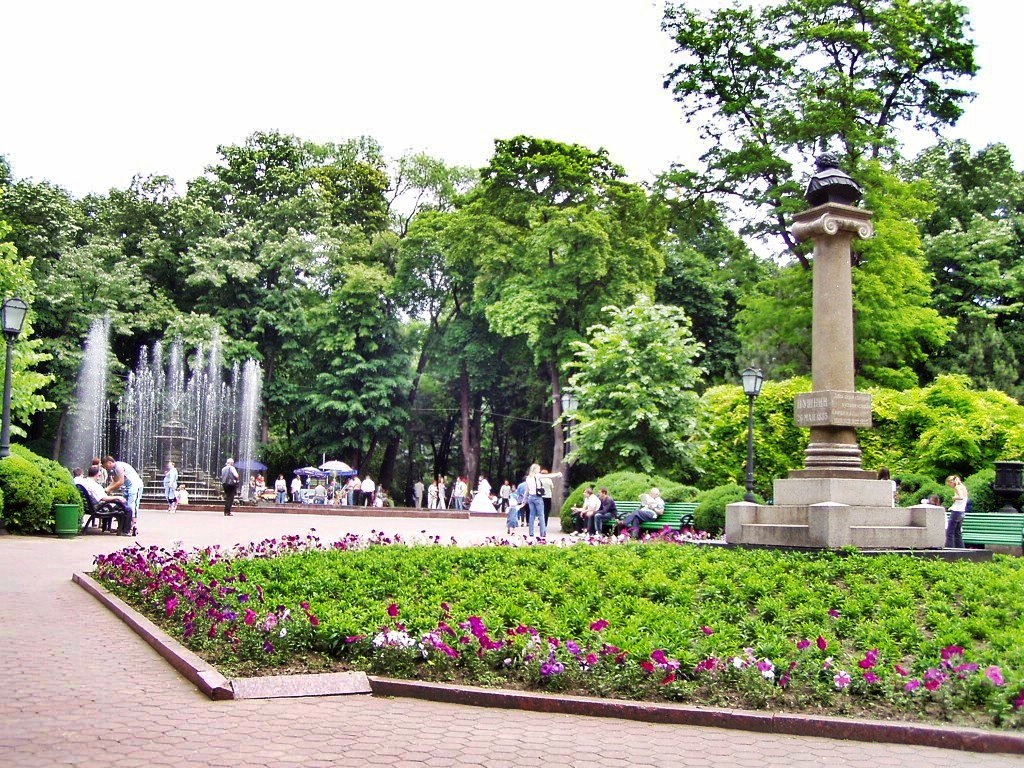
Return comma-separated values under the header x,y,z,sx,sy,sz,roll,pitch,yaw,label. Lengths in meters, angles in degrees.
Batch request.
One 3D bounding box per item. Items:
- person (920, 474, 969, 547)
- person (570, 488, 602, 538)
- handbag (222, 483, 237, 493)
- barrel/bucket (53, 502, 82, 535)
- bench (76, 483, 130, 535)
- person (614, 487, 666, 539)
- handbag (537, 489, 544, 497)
x,y,z,sx,sy,sz,roll,pitch,yaw,label
8.616,2.561,21.946,0.659,1.938,0.706,1,-25,30,person
1.901,3.145,27.032,0.962,1.585,0.843,2,-7,0,person
-8.999,3.318,35.206,0.463,0.337,0.456,-2,-7,24,handbag
-9.574,2.920,23.816,0.642,0.668,0.649,-1,-7,0,barrel/bucket
-9.029,2.846,24.699,1.321,1.150,0.958,0,-2,-15,bench
2.913,2.934,25.185,0.865,0.994,1.413,3,6,31,person
0.727,2.744,27.520,0.147,0.158,0.167,0,-8,-5,handbag
